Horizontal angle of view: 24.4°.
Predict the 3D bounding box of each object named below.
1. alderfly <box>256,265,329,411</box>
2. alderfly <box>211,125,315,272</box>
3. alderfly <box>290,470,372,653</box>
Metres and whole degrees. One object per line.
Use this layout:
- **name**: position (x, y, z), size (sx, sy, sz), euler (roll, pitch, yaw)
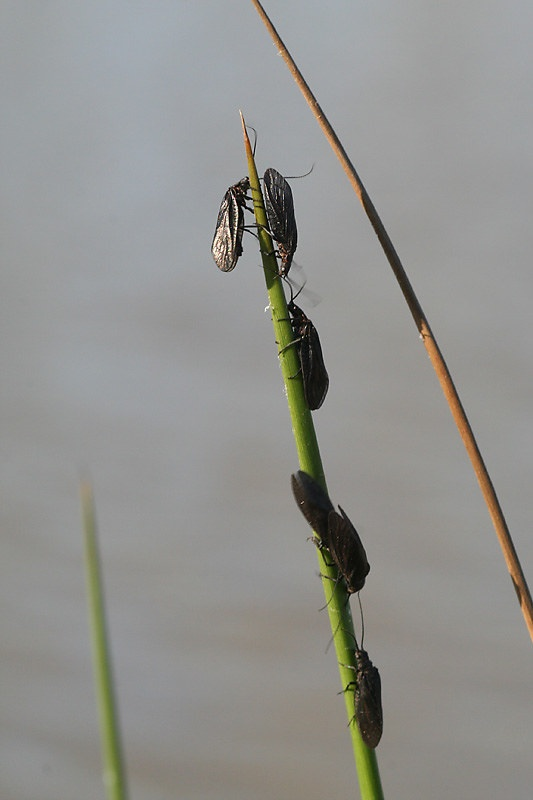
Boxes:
- **alderfly**: position (0.026, -0.032, 0.820), size (0.038, 0.088, 0.015), euler (15, -33, -38)
- **alderfly**: position (-0.013, -0.138, 0.859), size (0.043, 0.038, 0.085), euler (-3, -71, 6)
- **alderfly**: position (0.049, 0.111, 0.804), size (0.027, 0.102, 0.067), euler (-21, 7, 11)
